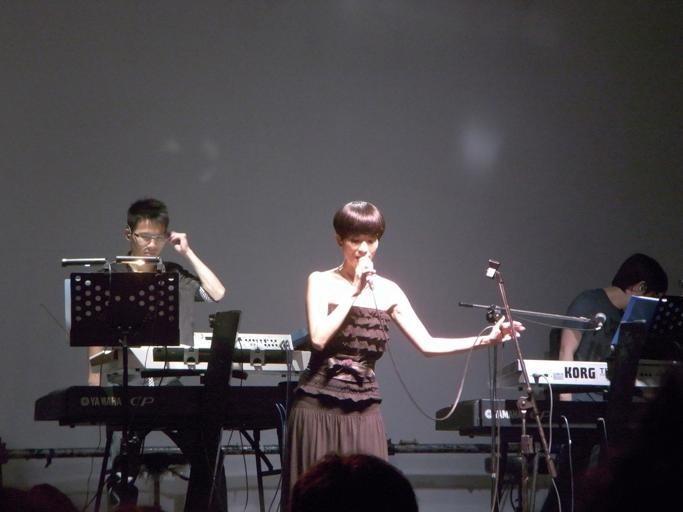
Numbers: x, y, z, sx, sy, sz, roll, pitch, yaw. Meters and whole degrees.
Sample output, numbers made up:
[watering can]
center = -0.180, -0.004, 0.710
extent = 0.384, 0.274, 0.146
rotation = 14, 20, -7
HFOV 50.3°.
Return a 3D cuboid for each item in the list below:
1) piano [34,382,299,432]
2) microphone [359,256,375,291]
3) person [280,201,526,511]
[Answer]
[piano]
center = -0.963, 0.796, 3.947
extent = 1.311, 0.316, 0.298
rotation = 6, -15, -4
[microphone]
center = 0.135, 0.081, 3.637
extent = 0.046, 0.201, 0.052
rotation = -6, 0, -1
[person]
center = 0.194, 0.501, 3.658
extent = 0.861, 1.482, 0.360
rotation = 5, -14, -4
